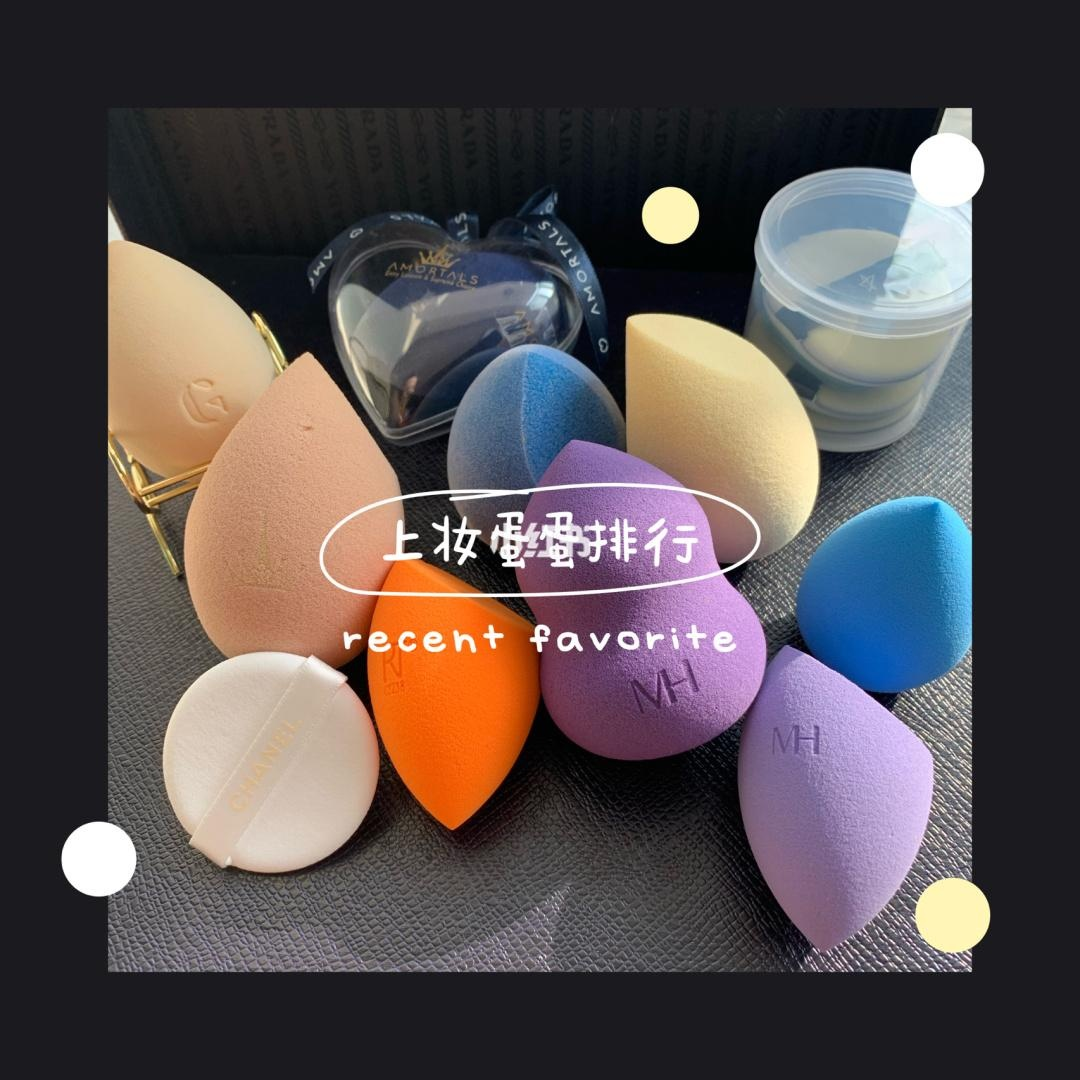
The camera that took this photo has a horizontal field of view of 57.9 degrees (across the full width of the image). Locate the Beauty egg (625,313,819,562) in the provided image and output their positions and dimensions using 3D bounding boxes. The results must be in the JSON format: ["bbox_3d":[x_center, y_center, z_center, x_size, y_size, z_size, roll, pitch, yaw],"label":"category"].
[{"bbox_3d":[0.113,-0.065,0.662,0.127,0.145,0.130,9,60,-1],"label":"Beauty egg"}]

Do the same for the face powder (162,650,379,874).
[{"bbox_3d":[-0.166,0.135,0.589,0.114,0.069,0.115,-12,54,-7],"label":"face powder"}]

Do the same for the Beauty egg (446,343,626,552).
[{"bbox_3d":[-0.007,-0.055,0.628,0.111,0.073,0.120,3,89,7],"label":"Beauty egg"}]
